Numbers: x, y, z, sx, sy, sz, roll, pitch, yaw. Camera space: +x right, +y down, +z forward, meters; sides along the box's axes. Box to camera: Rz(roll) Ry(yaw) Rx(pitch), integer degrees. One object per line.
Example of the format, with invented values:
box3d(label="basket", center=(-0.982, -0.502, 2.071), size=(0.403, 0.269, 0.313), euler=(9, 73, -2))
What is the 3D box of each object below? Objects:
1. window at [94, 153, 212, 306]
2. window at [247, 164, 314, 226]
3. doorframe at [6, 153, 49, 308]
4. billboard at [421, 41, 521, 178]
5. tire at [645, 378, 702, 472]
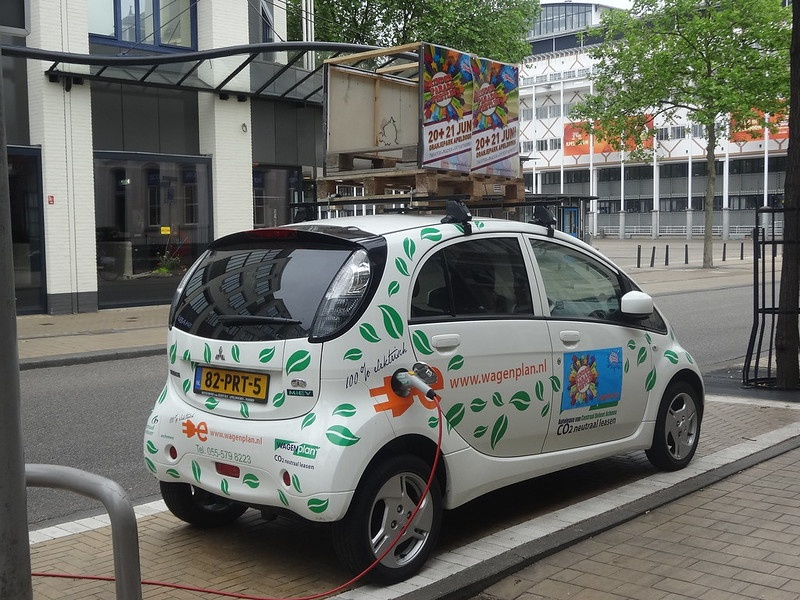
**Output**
box3d(label="window", center=(-6.233, -1.701, 19.085), size=(0.192, 4.113, 3.803), euler=(12, 12, 30))
box3d(label="window", center=(-3.359, -2.916, 22.136), size=(2.022, 2.167, 1.485), euler=(0, -1, 11))
box3d(label="doorframe", center=(-8.306, -1.556, 16.750), size=(0.625, 3.714, 0.397), euler=(-3, 5, -20))
box3d(label="billboard", center=(0.675, -1.722, 6.991), size=(1.393, 1.094, 0.045), euler=(-8, 9, -44))
box3d(label="tire", center=(2.255, 1.032, 6.195), size=(0.681, 0.751, 0.211), euler=(0, 2, -41))
